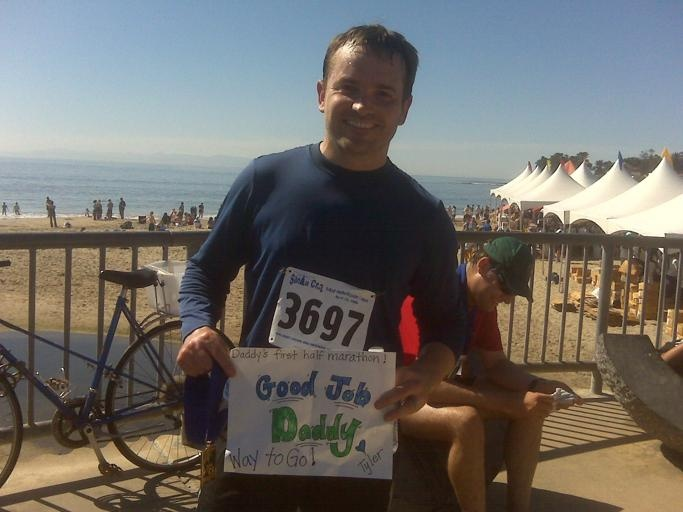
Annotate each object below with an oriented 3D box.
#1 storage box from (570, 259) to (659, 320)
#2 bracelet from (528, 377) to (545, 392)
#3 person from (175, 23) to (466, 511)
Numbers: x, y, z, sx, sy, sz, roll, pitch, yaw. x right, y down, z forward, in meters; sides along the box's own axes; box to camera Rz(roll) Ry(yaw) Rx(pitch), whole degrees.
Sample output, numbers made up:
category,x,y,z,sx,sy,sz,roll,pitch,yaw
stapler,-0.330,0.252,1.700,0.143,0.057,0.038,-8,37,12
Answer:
category,x,y,z,sx,sy,sz,roll,pitch,yaw
storage box,5.215,0.676,10.785,0.938,0.547,1.422,0,17,8
bracelet,1.276,0.849,3.745,0.066,0.035,0.100,1,6,12
person,-0.054,-0.197,2.454,1.249,1.558,0.578,2,12,0
